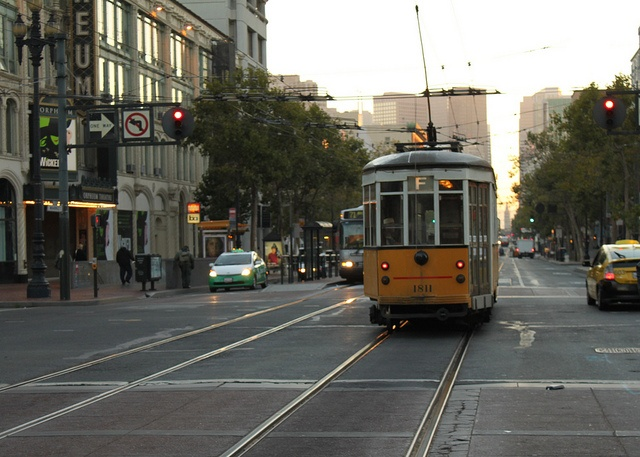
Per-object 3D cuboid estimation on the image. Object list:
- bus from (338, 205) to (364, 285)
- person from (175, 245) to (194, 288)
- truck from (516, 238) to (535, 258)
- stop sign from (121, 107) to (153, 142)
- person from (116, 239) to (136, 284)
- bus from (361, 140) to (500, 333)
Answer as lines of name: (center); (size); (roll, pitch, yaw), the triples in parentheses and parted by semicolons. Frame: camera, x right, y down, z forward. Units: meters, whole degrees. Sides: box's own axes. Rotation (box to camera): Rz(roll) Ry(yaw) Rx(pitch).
bus: (1.319, 0.711, 43.309); (0.995, 2.695, 1.644); (-2, -2, -36)
person: (-5.619, 1.600, 39.526); (0.733, 1.257, 0.829); (-2, -1, -9)
truck: (28.572, 2.779, 134.295); (1.782, 1.923, 3.241); (1, 0, 6)
stop sign: (-5.992, -3.422, 31.474); (1.152, 0.762, 0.474); (-3, -1, 16)
person: (-8.638, 1.593, 42.432); (0.625, 1.295, 1.971); (-2, -2, -11)
bus: (2.378, 0.175, 20.779); (2.757, 3.279, 1.650); (-2, -1, -7)
